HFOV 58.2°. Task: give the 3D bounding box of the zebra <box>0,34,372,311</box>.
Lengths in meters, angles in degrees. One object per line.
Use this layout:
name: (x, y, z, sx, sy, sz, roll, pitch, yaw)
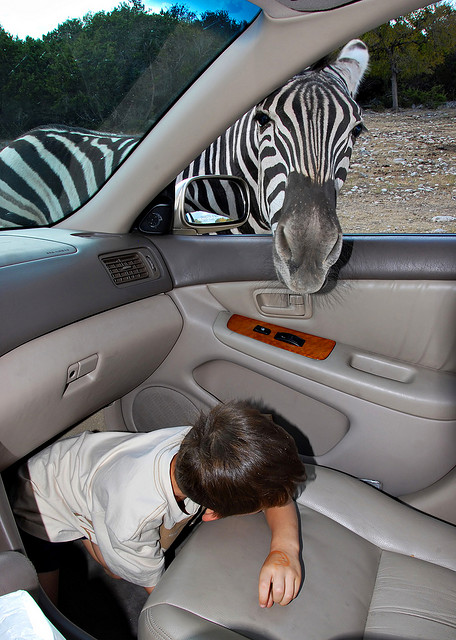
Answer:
zebra: (-0.042, -0.490, 1.594, 1.135, 0.829, 1.018, -3, 26, 23)
